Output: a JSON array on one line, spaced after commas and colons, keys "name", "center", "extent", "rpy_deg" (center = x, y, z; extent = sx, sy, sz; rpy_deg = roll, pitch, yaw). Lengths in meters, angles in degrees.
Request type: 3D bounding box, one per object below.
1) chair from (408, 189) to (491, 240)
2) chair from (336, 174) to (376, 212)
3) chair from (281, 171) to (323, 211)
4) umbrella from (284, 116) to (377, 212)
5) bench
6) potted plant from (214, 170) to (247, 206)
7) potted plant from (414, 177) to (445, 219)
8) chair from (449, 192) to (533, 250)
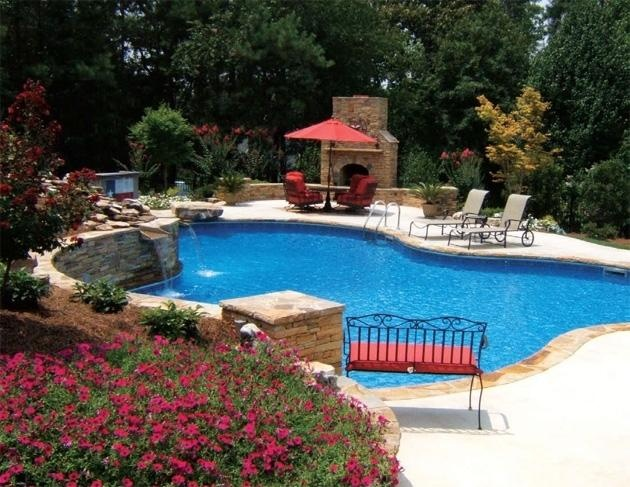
[{"name": "chair", "center": [4.263, -0.950, 14.834], "extent": [3.061, 1.827, 1.340], "rpy_deg": [-2, 6, -18]}, {"name": "chair", "center": [1.611, -1.893, 18.835], "extent": [1.473, 1.266, 1.104], "rpy_deg": [13, 16, 25]}, {"name": "chair", "center": [-0.471, -2.007, 18.666], "extent": [0.969, 1.135, 1.499], "rpy_deg": [14, 18, 38]}, {"name": "umbrella", "center": [0.579, -2.896, 18.736], "extent": [3.615, 3.157, 3.357], "rpy_deg": [-3, 14, -33]}, {"name": "bench", "center": [1.193, 1.528, 6.046], "extent": [1.696, 1.124, 0.576], "rpy_deg": [1, 5, 10]}, {"name": "potted plant", "center": [-3.456, -2.234, 19.945], "extent": [1.255, 1.339, 1.213], "rpy_deg": [-5, -5, 33]}, {"name": "potted plant", "center": [4.152, -1.514, 17.788], "extent": [1.049, 1.156, 1.087], "rpy_deg": [1, -1, 20]}, {"name": "chair", "center": [5.078, -0.656, 14.116], "extent": [2.903, 1.787, 1.472], "rpy_deg": [-1, 4, -25]}]
